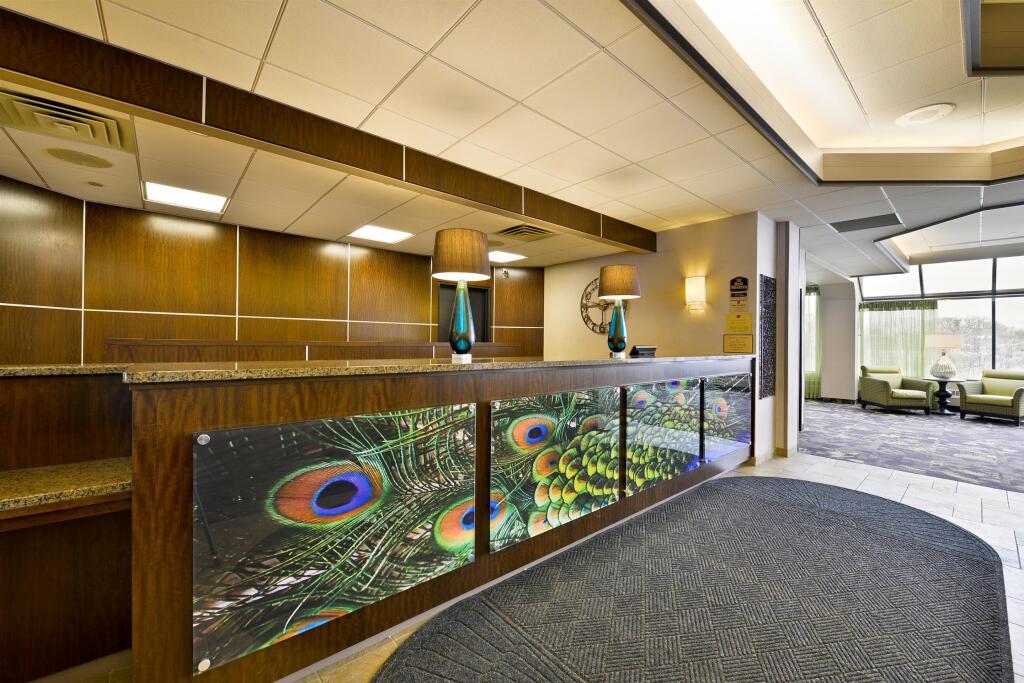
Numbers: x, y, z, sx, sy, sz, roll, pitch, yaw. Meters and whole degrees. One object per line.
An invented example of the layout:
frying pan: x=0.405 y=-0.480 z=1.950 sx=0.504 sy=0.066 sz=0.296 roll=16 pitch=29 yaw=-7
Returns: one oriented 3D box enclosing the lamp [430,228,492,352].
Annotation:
lamp: x=-0.396 y=-0.416 z=4.861 sx=0.457 sy=1.103 sz=0.678 roll=-2 pitch=5 yaw=-5
